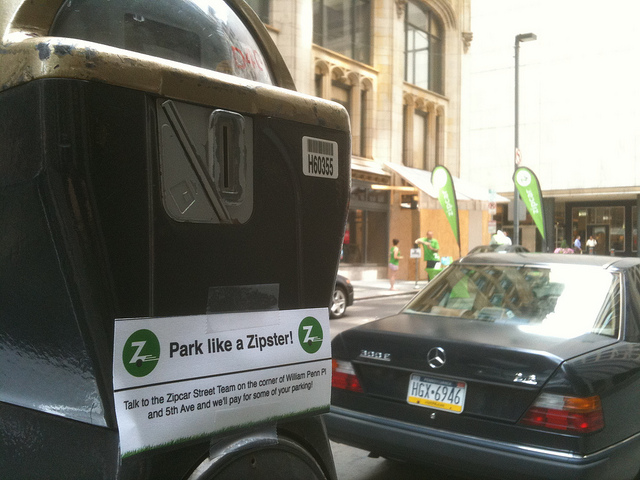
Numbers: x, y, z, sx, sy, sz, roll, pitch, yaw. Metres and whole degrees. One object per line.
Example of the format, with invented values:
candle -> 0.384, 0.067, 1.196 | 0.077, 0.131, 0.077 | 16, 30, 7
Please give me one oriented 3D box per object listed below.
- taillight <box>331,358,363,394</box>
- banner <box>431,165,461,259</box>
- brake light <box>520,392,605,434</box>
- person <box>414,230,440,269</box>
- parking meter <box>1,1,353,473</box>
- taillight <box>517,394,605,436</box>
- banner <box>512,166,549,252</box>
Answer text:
taillight -> 0.153, 0.798, 3.799 | 0.171, 0.071, 0.139 | 13, -10, 32
banner -> 2.970, -0.856, 15.393 | 0.604, 1.430, 1.562 | -2, 1, 10
brake light -> 1.159, 0.794, 3.105 | 0.184, 0.109, 0.246 | 12, -8, -43
person -> 2.812, 0.405, 16.934 | 0.543, 1.422, 0.430 | -9, 23, -2
parking meter -> -0.369, -0.011, 1.698 | 0.851, 1.099, 0.397 | -4, 2, -36
taillight -> 1.157, 0.834, 3.095 | 0.241, 0.081, 0.197 | 0, 4, 38
banner -> 5.291, -0.990, 16.110 | 0.073, 2.445, 0.598 | -18, 1, -31
